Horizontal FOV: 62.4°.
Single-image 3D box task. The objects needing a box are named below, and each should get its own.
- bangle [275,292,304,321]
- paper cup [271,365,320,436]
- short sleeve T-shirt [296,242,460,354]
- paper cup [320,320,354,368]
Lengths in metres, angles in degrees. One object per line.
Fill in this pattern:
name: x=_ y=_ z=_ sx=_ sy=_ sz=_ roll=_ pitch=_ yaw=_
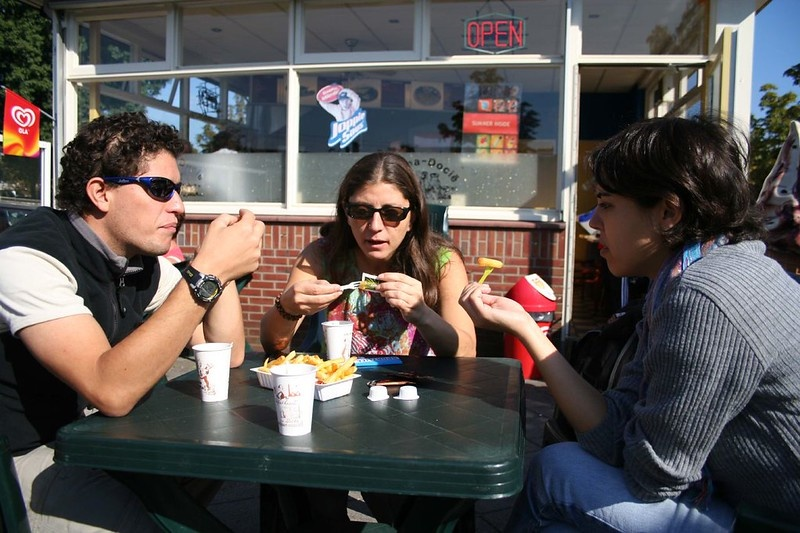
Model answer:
bangle: x=-0.580 y=0.200 z=3.400 sx=0.119 sy=0.044 sz=0.134 roll=41 pitch=-6 yaw=-19
paper cup: x=-0.392 y=0.504 z=2.571 sx=0.202 sy=0.269 sz=0.225 roll=-6 pitch=0 yaw=24
short sleeve T-shirt: x=-0.129 y=0.291 z=3.556 sx=0.715 sy=0.533 sz=0.579 roll=0 pitch=13 yaw=-15
paper cup: x=-0.292 y=0.358 z=3.141 sx=0.162 sy=0.170 sz=0.159 roll=0 pitch=0 yaw=0
